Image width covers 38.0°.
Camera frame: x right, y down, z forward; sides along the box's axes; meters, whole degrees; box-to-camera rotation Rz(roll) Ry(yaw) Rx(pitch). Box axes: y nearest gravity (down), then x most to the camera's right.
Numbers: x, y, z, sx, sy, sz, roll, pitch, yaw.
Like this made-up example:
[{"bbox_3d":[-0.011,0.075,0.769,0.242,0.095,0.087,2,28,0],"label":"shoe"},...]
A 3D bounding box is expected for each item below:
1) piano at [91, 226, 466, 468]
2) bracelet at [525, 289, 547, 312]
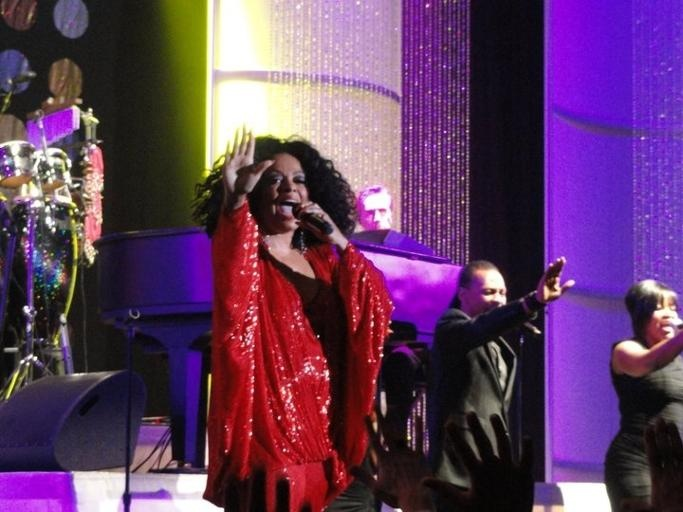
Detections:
[{"bbox_3d":[-0.687,0.701,6.631,1.955,1.739,2.592,7,-10,-16],"label":"piano"},{"bbox_3d":[0.992,0.241,5.103,0.105,0.084,0.083,42,4,18],"label":"bracelet"}]
